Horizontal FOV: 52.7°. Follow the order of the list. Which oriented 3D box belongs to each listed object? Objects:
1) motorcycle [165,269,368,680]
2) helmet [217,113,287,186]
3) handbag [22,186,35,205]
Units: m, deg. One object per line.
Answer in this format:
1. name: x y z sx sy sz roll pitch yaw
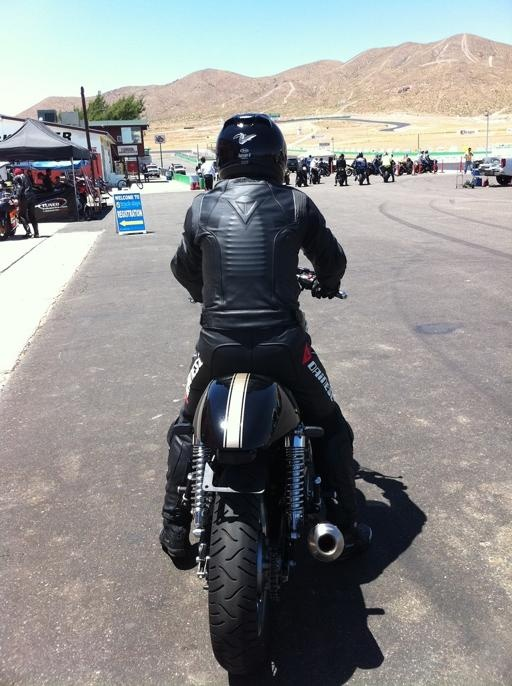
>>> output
1. motorcycle: 0.155 0.420 1.873 0.485 0.791 1.211 -1 28 8
2. helmet: 0.007 -0.896 2.483 0.291 0.315 0.394 4 11 11
3. handbag: -7.366 -4.760 16.654 0.425 0.609 0.763 -7 12 -22
